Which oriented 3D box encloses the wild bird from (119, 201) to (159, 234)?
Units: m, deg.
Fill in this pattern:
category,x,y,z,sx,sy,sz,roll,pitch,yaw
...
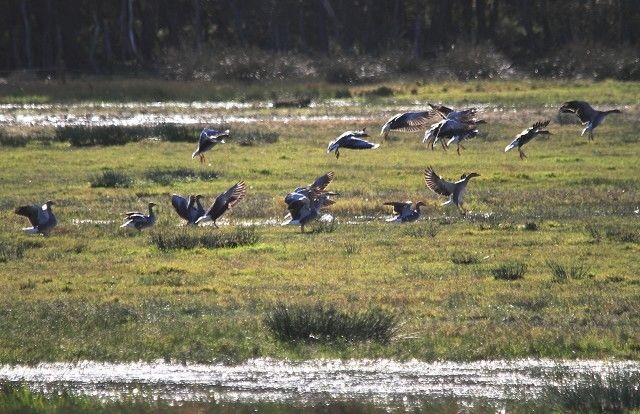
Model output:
category,x,y,z,sx,sy,sz,roll,pitch,yaw
wild bird,-8.221,0.435,73.092,1.698,1.283,1.127,-2,8,3
